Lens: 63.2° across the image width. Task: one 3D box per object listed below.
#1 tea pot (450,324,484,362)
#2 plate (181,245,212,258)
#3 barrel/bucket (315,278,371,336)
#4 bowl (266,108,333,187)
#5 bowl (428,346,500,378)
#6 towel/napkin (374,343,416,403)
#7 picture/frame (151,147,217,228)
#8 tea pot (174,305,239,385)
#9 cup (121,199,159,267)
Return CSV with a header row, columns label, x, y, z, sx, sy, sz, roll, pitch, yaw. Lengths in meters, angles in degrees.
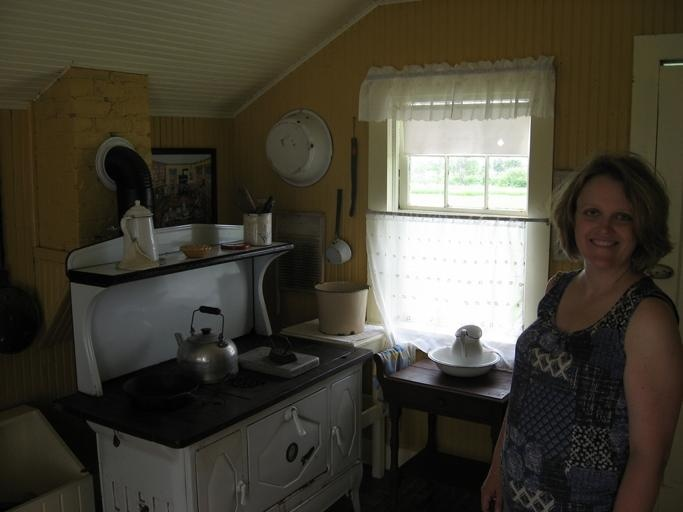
label,x,y,z,sx,sy,sz,roll,pitch,yaw
tea pot,0.708,0.484,3.116,0.125,0.215,0.197,3,15,17
plate,-0.771,-0.040,3.028,0.140,0.059,0.255,-1,12,-7
barrel/bucket,0.007,0.330,3.601,0.335,0.284,0.339,1,11,0
bowl,-0.273,-0.725,3.756,0.420,0.523,0.214,7,12,32
bowl,0.687,0.550,3.111,0.323,0.151,0.359,10,13,19
towel/napkin,0.312,0.686,3.195,0.062,0.351,0.291,2,12,34
picture/frame,-1.052,-0.456,3.756,0.512,0.561,0.034,-9,12,-42
tea pot,-0.684,0.443,2.933,0.365,0.432,0.304,2,4,19
cup,-0.949,-0.100,2.667,0.137,0.342,0.130,6,14,-2
